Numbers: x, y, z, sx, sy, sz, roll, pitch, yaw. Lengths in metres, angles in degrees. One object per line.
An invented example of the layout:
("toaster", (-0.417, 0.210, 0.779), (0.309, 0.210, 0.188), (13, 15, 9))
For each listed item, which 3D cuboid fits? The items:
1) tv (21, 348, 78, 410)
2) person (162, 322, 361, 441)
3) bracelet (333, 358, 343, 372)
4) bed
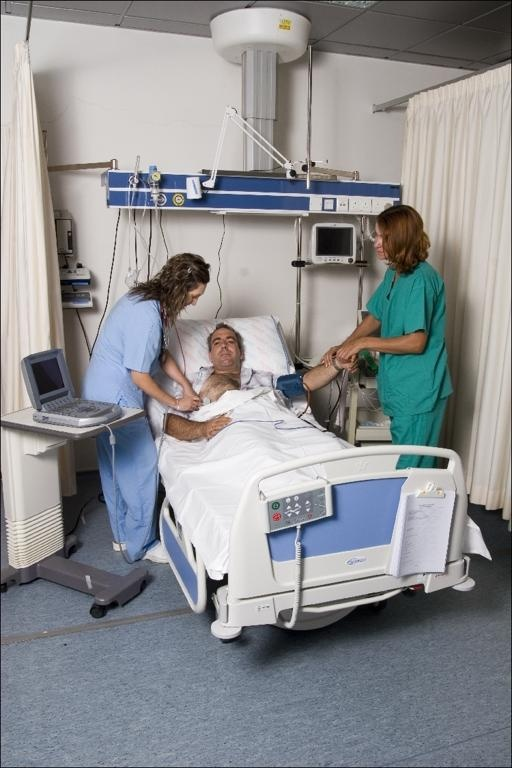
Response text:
("tv", (-0.694, -0.019, 2.175), (0.034, 0.174, 0.201), (-10, 8, 22))
("person", (0.009, -0.054, 2.734), (0.714, 0.271, 0.775), (9, 20, -46))
("bracelet", (0.325, -0.078, 2.590), (0.040, 0.040, 0.028), (41, -7, 8))
("bed", (0.027, 0.332, 2.174), (0.797, 0.540, 1.256), (1, 7, -25))
